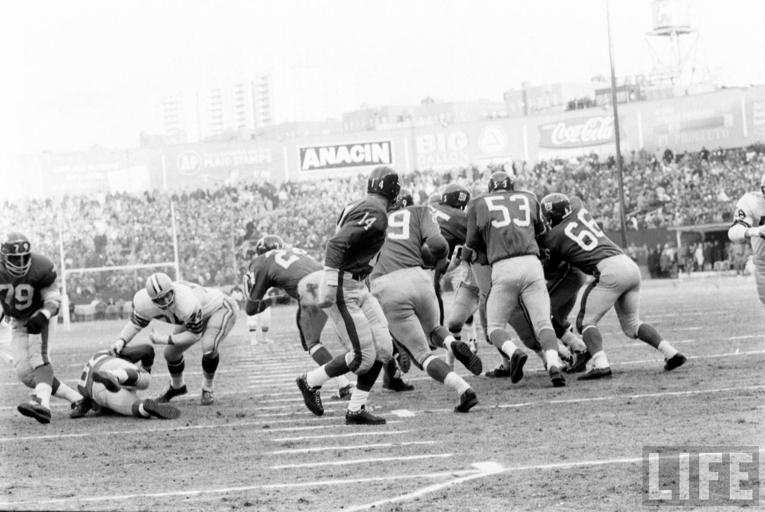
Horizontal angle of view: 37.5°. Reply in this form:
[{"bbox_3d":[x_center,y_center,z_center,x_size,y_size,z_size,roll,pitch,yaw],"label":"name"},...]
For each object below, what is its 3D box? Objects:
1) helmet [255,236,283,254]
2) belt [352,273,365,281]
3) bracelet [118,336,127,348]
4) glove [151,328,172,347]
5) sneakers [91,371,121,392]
[{"bbox_3d":[-1.945,-0.212,19.338,0.323,0.335,0.389,-3,6,-26],"label":"helmet"},{"bbox_3d":[-0.361,0.320,17.218,0.244,0.130,0.066,-13,15,-43],"label":"belt"},{"bbox_3d":[-4.246,1.407,18.342,0.118,0.139,0.157,1,-11,0],"label":"bracelet"},{"bbox_3d":[-3.665,1.336,18.315,0.404,0.182,0.397,11,-1,-33],"label":"glove"},{"bbox_3d":[-4.427,1.978,17.950,0.420,0.240,0.167,39,38,19],"label":"sneakers"}]
